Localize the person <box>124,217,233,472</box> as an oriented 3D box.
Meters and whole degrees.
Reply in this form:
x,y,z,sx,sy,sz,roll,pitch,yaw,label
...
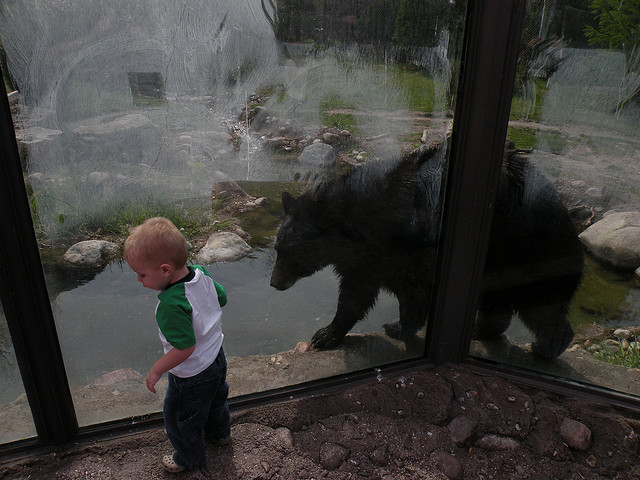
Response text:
x,y,z,sx,sy,sz,roll,pitch,yaw,label
-0.746,0.631,2.824,0.508,1.515,0.402,-9,25,-20,person
